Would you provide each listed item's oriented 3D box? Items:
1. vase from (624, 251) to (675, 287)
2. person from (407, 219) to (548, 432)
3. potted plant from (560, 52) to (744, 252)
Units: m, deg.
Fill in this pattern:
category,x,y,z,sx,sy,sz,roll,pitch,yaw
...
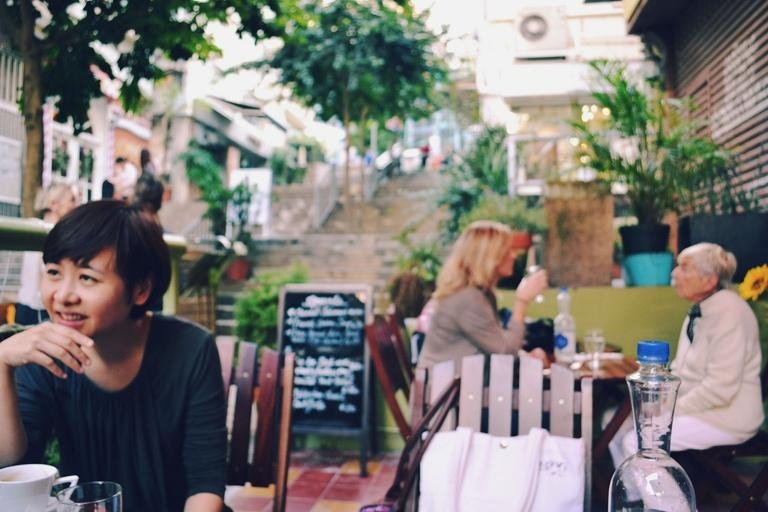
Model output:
category,x,y,z,sx,sy,sz,roll,pitch,yaw
vase,1.920,0.107,5.346,0.260,0.173,0.272,-6,-11,33
person,0.625,0.529,4.942,0.870,1.536,0.636,2,18,3
potted plant,2.001,-0.832,5.820,1.236,1.384,1.204,5,-7,-10
